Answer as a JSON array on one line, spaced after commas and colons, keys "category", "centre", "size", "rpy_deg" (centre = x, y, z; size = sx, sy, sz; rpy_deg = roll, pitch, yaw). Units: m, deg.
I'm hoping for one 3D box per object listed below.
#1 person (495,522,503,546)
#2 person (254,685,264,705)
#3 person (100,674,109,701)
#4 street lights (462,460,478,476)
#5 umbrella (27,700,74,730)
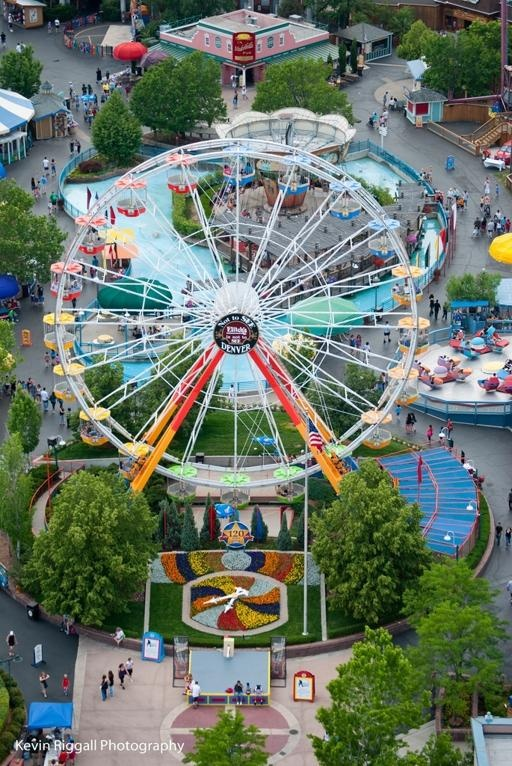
[{"category": "person", "centre": [15.322, 9.367, 65.664], "size": [0.367, 1.392, 1.396], "rpy_deg": [3, 26, 17]}, {"category": "person", "centre": [0.183, 15.399, 51.219], "size": [0.651, 0.721, 0.450], "rpy_deg": [-2, -6, -1]}, {"category": "person", "centre": [-7.591, 15.220, 51.909], "size": [0.476, 1.140, 0.713], "rpy_deg": [-8, 25, -6]}, {"category": "street lights", "centre": [14.673, 5.868, 71.072], "size": [1.055, 0.453, 0.816], "rpy_deg": [3, 3, 5]}, {"category": "umbrella", "centre": [-9.324, 15.414, 47.273], "size": [1.866, 1.717, 1.173], "rpy_deg": [-8, 25, -6]}]
